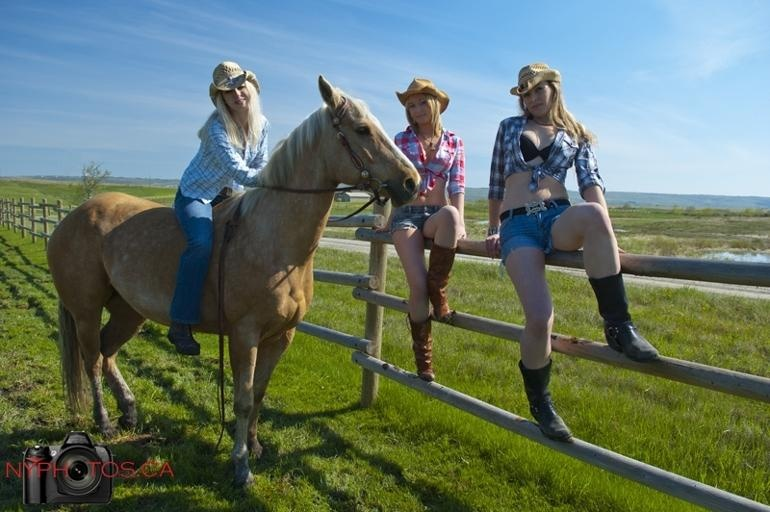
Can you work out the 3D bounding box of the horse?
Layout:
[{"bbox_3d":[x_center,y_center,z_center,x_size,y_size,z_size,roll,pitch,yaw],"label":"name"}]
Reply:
[{"bbox_3d":[-1.573,0.701,4.496,3.348,3.875,1.207,2,-2,11],"label":"horse"}]

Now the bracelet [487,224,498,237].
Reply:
[{"bbox_3d":[1.044,-0.240,4.091,0.119,0.138,0.077,1,6,31],"label":"bracelet"}]

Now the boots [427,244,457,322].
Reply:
[{"bbox_3d":[0.575,0.249,4.273,0.277,0.743,0.265,2,10,11],"label":"boots"}]

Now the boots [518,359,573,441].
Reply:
[{"bbox_3d":[1.407,1.223,3.618,0.457,0.704,0.267,5,11,27],"label":"boots"}]

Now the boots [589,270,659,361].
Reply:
[{"bbox_3d":[1.951,0.480,3.376,0.540,0.687,0.223,7,12,33],"label":"boots"}]
